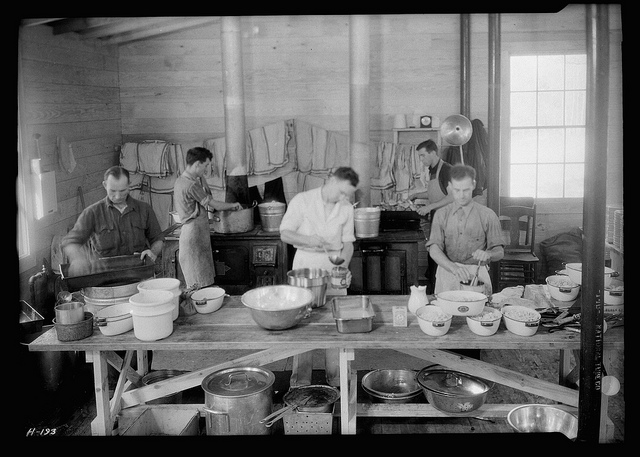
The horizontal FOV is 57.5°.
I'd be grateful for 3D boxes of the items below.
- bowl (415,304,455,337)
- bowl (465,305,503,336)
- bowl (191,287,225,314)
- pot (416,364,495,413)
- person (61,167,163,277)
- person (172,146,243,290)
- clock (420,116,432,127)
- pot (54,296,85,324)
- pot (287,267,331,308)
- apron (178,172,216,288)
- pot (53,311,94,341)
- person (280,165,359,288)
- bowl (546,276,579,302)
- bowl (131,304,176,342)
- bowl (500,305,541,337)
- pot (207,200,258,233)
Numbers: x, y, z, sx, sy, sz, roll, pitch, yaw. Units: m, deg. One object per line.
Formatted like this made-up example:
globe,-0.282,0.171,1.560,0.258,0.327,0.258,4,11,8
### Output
bowl,0.884,0.690,4.476,0.277,0.195,0.316,-1,10,11
bowl,1.240,0.695,4.390,0.202,0.093,0.213,-1,2,0
bowl,-0.927,0.585,4.831,0.200,0.093,0.289,-3,11,2
pot,1.061,1.314,4.713,0.610,0.276,0.580,5,5,0
person,-1.957,-0.089,5.479,0.895,0.963,0.759,-8,12,-25
person,-1.318,-0.122,6.596,0.572,1.602,1.003,-3,11,3
clock,1.486,-1.508,8.201,0.168,0.153,0.090,-1,11,11
pot,-1.899,0.638,4.418,0.198,0.118,0.217,-3,10,1
pot,-0.097,0.531,4.905,0.354,0.238,0.300,-1,-7,-34
apron,-1.378,0.194,6.511,0.399,0.942,0.285,-7,12,-20
pot,-1.828,0.733,4.412,0.218,0.105,0.223,0,0,0
person,-0.002,-0.080,5.595,0.740,1.008,0.654,-5,11,-8
bowl,2.025,0.494,4.865,0.192,0.101,0.298,1,1,13
bowl,-1.261,0.701,4.364,0.288,0.198,0.277,0,2,0
bowl,1.528,0.704,4.459,0.286,0.175,0.267,-3,10,1
pot,-1.053,-0.140,7.045,0.534,0.371,0.845,-4,5,27
